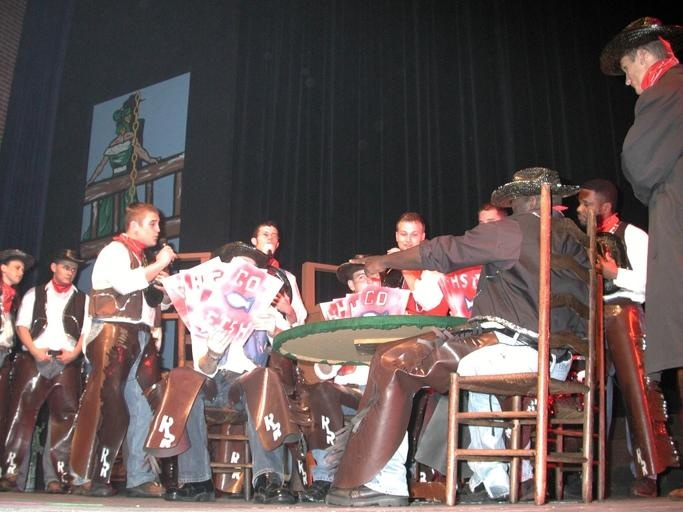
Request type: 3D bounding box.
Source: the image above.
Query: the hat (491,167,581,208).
[{"bbox_3d":[1.308,-0.487,6.523,0.408,0.113,0.407,-5,-11,18],"label":"hat"}]

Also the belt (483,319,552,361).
[{"bbox_3d":[1.187,0.559,6.201,0.381,0.091,0.137,23,-26,-9],"label":"belt"}]

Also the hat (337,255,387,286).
[{"bbox_3d":[0.185,0.132,7.629,0.252,0.111,0.327,-4,-17,-3],"label":"hat"}]

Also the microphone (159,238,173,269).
[{"bbox_3d":[-1.538,-0.012,8.200,0.103,0.366,0.098,3,-46,-14],"label":"microphone"}]

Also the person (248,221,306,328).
[{"bbox_3d":[-0.533,0.147,8.253,0.638,0.839,0.298,-16,6,-40],"label":"person"}]

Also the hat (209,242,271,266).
[{"bbox_3d":[-0.828,-0.026,7.714,0.312,0.123,0.235,20,-5,27],"label":"hat"}]

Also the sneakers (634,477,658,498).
[{"bbox_3d":[2.328,1.779,7.097,0.217,0.093,0.102,23,-31,-36],"label":"sneakers"}]
